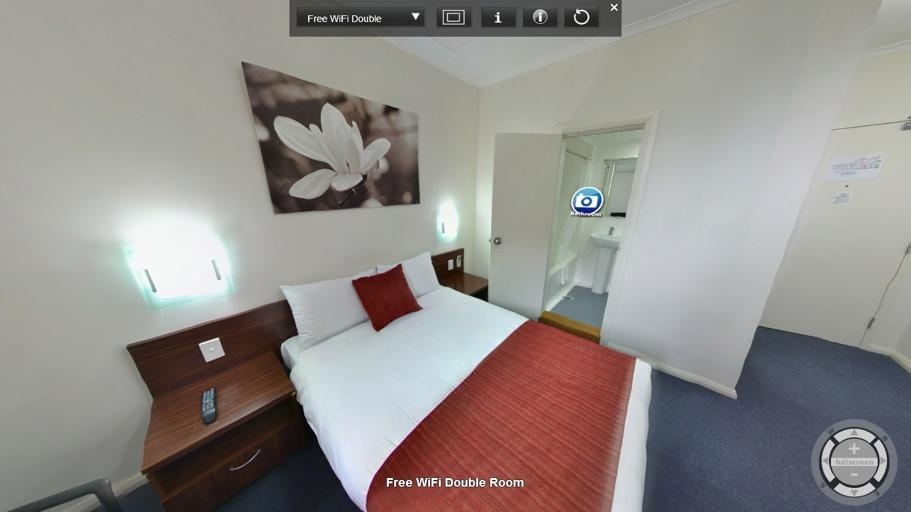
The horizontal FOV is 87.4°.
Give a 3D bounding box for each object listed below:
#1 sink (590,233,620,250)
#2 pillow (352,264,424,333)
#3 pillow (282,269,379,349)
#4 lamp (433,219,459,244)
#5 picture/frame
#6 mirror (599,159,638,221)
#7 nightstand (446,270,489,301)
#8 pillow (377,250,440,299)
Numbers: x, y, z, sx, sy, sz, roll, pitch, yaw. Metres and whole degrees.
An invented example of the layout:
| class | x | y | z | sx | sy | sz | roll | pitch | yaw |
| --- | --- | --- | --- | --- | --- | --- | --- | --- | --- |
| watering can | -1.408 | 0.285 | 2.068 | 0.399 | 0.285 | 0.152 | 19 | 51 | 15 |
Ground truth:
| class | x | y | z | sx | sy | sz | roll | pitch | yaw |
| --- | --- | --- | --- | --- | --- | --- | --- | --- | --- |
| sink | 1.976 | -0.180 | 6.311 | 0.410 | 0.168 | 0.261 | 9 | 19 | 32 |
| pillow | -0.730 | 0.426 | 4.997 | 0.687 | 0.626 | 0.202 | -18 | -16 | -41 |
| pillow | -1.245 | 0.569 | 4.778 | 0.724 | 0.421 | 0.184 | -18 | -1 | -38 |
| lamp | -0.082 | -0.292 | 5.821 | 0.305 | 0.270 | 0.074 | -6 | 16 | -43 |
| picture/frame | -1.279 | -1.214 | 4.787 | 1.786 | 1.105 | 0.015 | -8 | 15 | -39 |
| mirror | 2.117 | -0.901 | 6.282 | 0.385 | 0.773 | 0.227 | 5 | 19 | 19 |
| nightstand | 0.164 | 0.338 | 5.843 | 0.374 | 0.350 | 0.368 | 25 | 40 | 21 |
| pillow | -0.582 | 0.290 | 5.525 | 0.208 | 0.447 | 0.756 | -29 | -9 | 38 |
